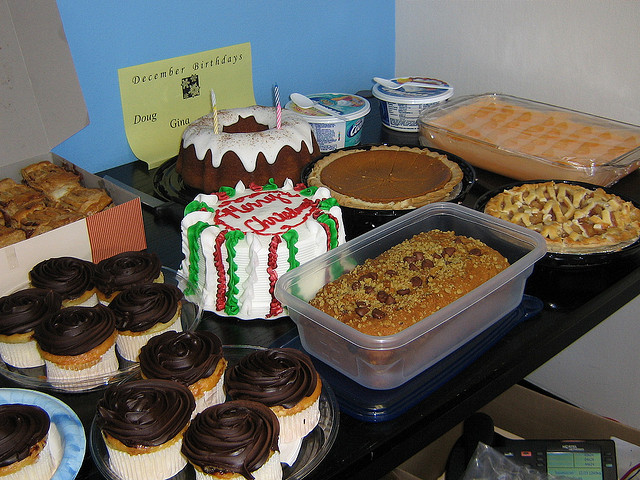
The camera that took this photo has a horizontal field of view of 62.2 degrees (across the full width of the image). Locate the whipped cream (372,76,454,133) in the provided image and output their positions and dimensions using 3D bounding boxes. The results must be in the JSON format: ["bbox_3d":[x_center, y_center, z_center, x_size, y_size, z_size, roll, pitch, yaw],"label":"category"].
[{"bbox_3d":[0.326,-0.506,2.028,0.271,0.126,0.253,-4,33,-3],"label":"whipped cream"}]

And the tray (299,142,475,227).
[{"bbox_3d":[0.206,-0.115,1.417,0.356,0.060,0.337,2,35,7],"label":"tray"}]

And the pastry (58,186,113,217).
[{"bbox_3d":[-0.612,-0.108,1.377,0.097,0.028,0.096,24,50,21],"label":"pastry"}]

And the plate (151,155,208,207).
[{"bbox_3d":[-0.455,-0.178,1.615,0.209,0.022,0.191,1,46,2],"label":"plate"}]

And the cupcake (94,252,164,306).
[{"bbox_3d":[-0.442,0.075,1.217,0.155,0.054,0.148,-3,32,-15],"label":"cupcake"}]

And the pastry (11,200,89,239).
[{"bbox_3d":[-0.674,-0.055,1.343,0.133,0.047,0.136,29,44,32],"label":"pastry"}]

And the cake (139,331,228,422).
[{"bbox_3d":[-0.251,0.261,1.071,0.155,0.133,0.150,-29,49,-31],"label":"cake"}]

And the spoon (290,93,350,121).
[{"bbox_3d":[-0.003,-0.454,1.820,0.051,0.033,0.236,-36,56,-27],"label":"spoon"}]

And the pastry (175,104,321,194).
[{"bbox_3d":[-0.246,-0.294,1.643,0.394,0.136,0.383,-20,40,-19],"label":"pastry"}]

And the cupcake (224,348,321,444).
[{"bbox_3d":[-0.094,0.292,0.994,0.173,0.136,0.162,4,0,12],"label":"cupcake"}]

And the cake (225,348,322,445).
[{"bbox_3d":[-0.087,0.255,0.984,0.168,0.132,0.158,-6,27,-11],"label":"cake"}]

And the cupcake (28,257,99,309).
[{"bbox_3d":[-0.563,0.088,1.177,0.127,0.069,0.124,20,30,7],"label":"cupcake"}]

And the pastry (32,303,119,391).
[{"bbox_3d":[-0.486,0.211,1.092,0.154,0.129,0.146,3,32,1],"label":"pastry"}]

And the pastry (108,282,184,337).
[{"bbox_3d":[-0.362,0.143,1.106,0.108,0.038,0.122,32,46,28],"label":"pastry"}]

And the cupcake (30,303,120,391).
[{"bbox_3d":[-0.494,0.211,1.091,0.146,0.128,0.156,27,34,36],"label":"cupcake"}]

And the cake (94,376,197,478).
[{"bbox_3d":[-0.286,0.312,0.967,0.179,0.145,0.167,-14,36,-32],"label":"cake"}]

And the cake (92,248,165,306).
[{"bbox_3d":[-0.437,0.079,1.224,0.167,0.061,0.153,11,28,31],"label":"cake"}]

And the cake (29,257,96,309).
[{"bbox_3d":[-0.575,0.084,1.192,0.146,0.046,0.141,38,31,25],"label":"cake"}]

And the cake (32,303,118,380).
[{"bbox_3d":[-0.491,0.209,1.093,0.156,0.129,0.149,-16,34,-33],"label":"cake"}]

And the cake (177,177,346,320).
[{"bbox_3d":[-0.141,-0.011,1.338,0.405,0.152,0.392,-16,9,4],"label":"cake"}]

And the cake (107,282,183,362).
[{"bbox_3d":[-0.356,0.174,1.201,0.168,0.134,0.153,-20,46,-27],"label":"cake"}]

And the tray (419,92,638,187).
[{"bbox_3d":[0.665,-0.288,1.753,0.570,0.113,0.344,20,39,31],"label":"tray"}]

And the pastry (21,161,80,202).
[{"bbox_3d":[-0.737,-0.140,1.464,0.146,0.047,0.107,31,51,23],"label":"pastry"}]

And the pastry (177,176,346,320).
[{"bbox_3d":[-0.161,-0.036,1.344,0.423,0.161,0.414,8,27,37],"label":"pastry"}]

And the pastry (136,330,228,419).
[{"bbox_3d":[-0.246,0.263,1.025,0.139,0.117,0.135,10,31,23],"label":"pastry"}]
